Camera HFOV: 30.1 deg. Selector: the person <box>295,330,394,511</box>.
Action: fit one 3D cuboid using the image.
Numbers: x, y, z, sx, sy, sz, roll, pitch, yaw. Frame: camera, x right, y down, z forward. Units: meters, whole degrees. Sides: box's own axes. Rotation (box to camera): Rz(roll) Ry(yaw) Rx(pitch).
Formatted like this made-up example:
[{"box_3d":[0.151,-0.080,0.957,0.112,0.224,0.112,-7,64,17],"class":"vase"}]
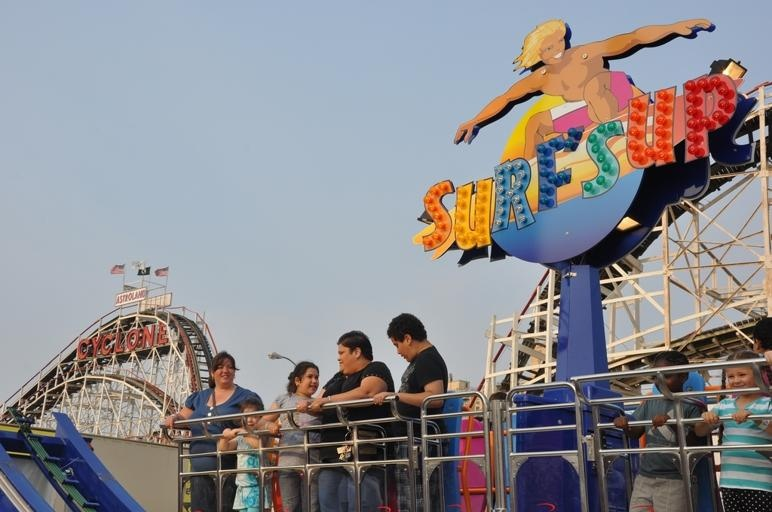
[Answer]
[{"box_3d":[-0.562,2.499,21.797,1.263,2.784,0.726,-7,-20,11],"class":"person"}]
